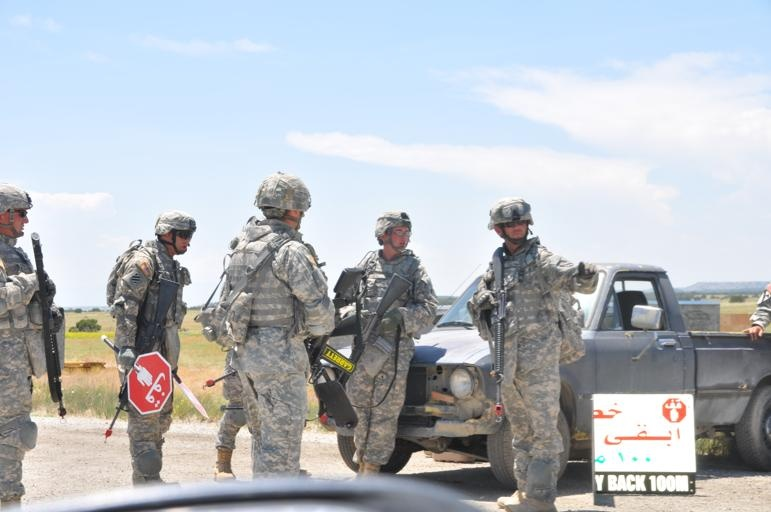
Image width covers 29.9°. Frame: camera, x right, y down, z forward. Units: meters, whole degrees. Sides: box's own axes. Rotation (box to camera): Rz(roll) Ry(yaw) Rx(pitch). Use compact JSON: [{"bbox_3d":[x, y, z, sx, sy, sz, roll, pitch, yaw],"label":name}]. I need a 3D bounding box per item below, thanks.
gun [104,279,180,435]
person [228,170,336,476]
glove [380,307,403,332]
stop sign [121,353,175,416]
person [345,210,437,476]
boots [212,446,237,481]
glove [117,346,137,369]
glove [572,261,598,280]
[{"bbox_3d":[-2.716,1.103,16.092,0.851,1.725,0.729,3,1,-18],"label":"gun"},{"bbox_3d":[-1.135,0.696,15.005,1.109,3.098,0.847,1,1,14],"label":"person"},{"bbox_3d":[0.071,0.740,16.560,0.246,0.255,0.106,0,1,-29],"label":"glove"},{"bbox_3d":[-2.589,1.378,15.740,0.491,0.647,0.156,1,1,-15],"label":"stop sign"},{"bbox_3d":[0.085,1.044,16.973,1.047,2.788,1.233,0,-1,16],"label":"person"},{"bbox_3d":[-1.898,2.450,16.955,0.246,0.390,0.454,4,4,-16],"label":"boots"},{"bbox_3d":[-2.833,1.107,15.725,0.224,0.209,0.232,-1,-4,38],"label":"glove"},{"bbox_3d":[2.140,0.169,15.505,0.274,0.178,0.168,1,1,29],"label":"glove"}]
